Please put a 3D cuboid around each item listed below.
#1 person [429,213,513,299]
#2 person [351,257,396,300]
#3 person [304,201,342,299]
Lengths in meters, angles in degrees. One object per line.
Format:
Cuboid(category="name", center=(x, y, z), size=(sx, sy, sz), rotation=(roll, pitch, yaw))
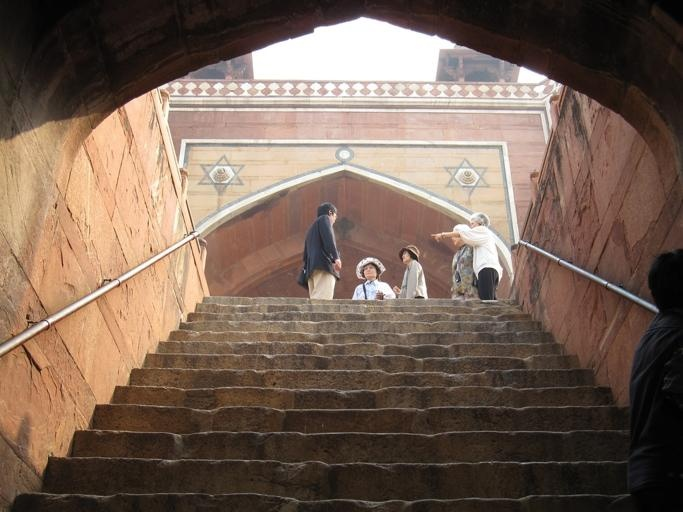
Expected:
Cuboid(category="person", center=(1.840, -0.050, 9.049), size=(0.775, 1.336, 0.551), rotation=(1, -57, 11))
Cuboid(category="person", center=(0.504, 0.292, 9.700), size=(0.515, 0.734, 0.430), rotation=(-12, -62, 7))
Cuboid(category="person", center=(-0.230, -0.069, 7.669), size=(0.535, 1.206, 0.394), rotation=(-5, -19, 15))
